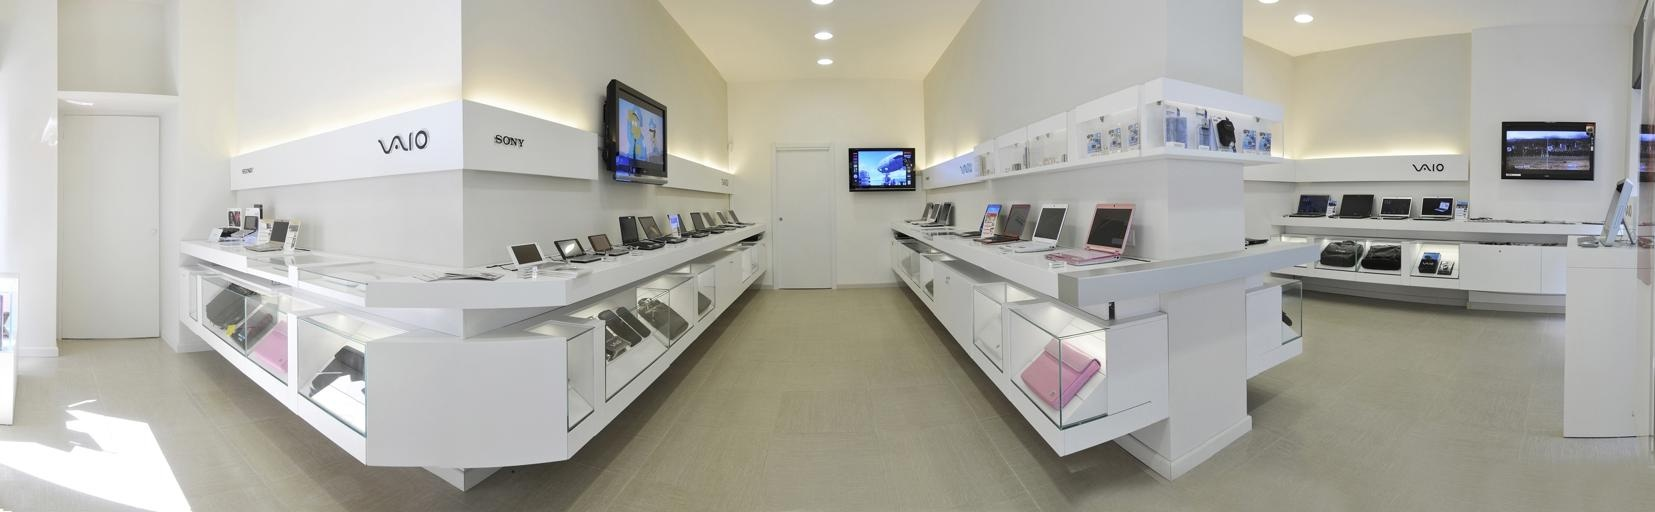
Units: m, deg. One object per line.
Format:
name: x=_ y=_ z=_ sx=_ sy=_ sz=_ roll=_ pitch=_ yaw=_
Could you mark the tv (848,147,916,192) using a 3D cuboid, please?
tv: x=1.376 y=-2.243 z=18.264 sx=1.942 sy=0.750 sz=0.193 roll=0 pitch=-3 yaw=-3
